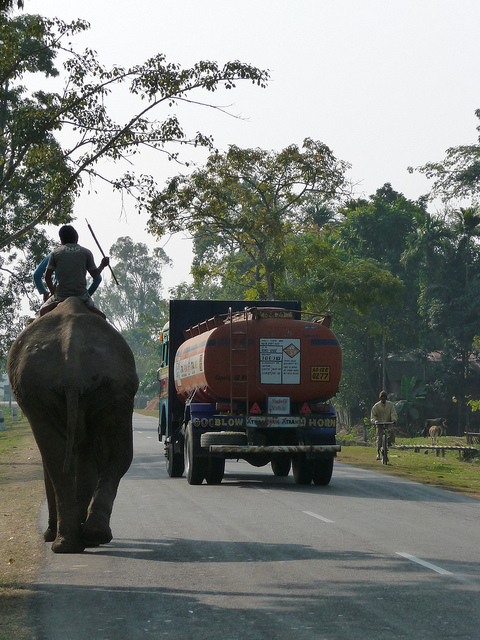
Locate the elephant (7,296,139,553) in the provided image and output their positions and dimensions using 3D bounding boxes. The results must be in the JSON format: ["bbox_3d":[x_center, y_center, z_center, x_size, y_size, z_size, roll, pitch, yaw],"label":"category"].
[{"bbox_3d":[-1.442,0.798,7.895,1.107,2.510,2.087,2,1,-11],"label":"elephant"}]

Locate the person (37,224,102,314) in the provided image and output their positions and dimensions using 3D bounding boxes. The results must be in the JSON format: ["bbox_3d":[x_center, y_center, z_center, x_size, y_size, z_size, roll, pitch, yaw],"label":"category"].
[{"bbox_3d":[-1.645,-0.279,8.580,0.493,1.221,0.608,4,-22,-19],"label":"person"}]

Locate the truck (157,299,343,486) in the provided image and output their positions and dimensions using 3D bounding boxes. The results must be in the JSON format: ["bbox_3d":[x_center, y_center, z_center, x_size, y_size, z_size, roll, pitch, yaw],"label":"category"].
[{"bbox_3d":[0.014,1.354,17.752,2.444,3.528,5.538,4,-6,-16],"label":"truck"}]
